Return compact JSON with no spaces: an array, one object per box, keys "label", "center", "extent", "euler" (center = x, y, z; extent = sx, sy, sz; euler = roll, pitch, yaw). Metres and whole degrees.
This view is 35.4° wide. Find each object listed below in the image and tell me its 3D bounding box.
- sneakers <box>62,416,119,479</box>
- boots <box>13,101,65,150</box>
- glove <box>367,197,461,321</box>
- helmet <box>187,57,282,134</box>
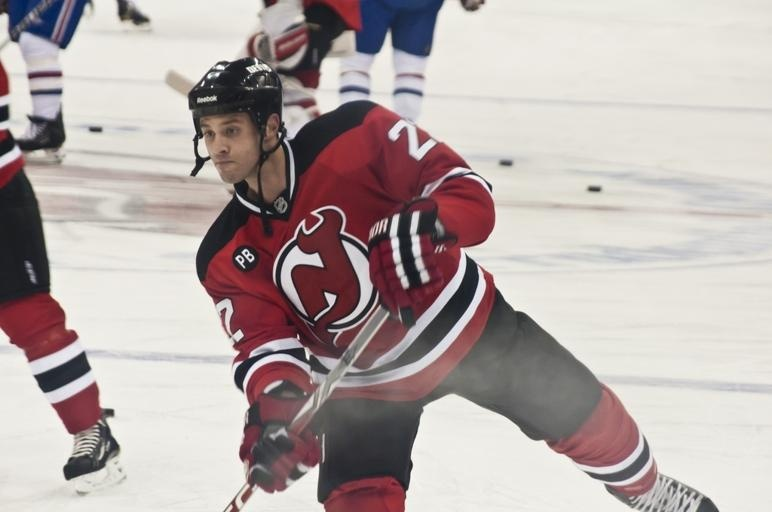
[{"label":"sneakers","center":[-1.274,0.829,5.337],"extent":[0.124,0.151,0.358],"euler":[0,25,20]},{"label":"boots","center":[-2.217,-0.771,7.511],"extent":[0.131,0.254,0.397],"euler":[18,19,34]},{"label":"glove","center":[0.079,0.010,4.711],"extent":[0.214,0.484,0.352],"euler":[-7,57,-48]},{"label":"helmet","center":[-0.602,-0.678,5.068],"extent":[0.422,0.313,0.334],"euler":[-13,14,-34]}]
